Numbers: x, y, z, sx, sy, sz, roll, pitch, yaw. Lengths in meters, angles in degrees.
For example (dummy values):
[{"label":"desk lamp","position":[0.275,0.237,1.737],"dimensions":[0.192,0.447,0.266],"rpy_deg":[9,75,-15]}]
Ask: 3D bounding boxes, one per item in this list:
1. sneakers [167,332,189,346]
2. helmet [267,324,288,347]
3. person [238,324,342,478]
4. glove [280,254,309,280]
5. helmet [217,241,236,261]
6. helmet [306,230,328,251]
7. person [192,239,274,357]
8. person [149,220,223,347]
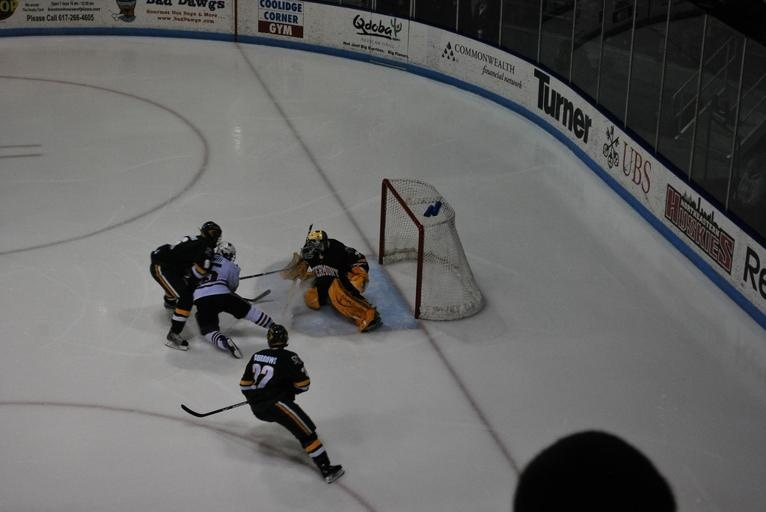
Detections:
[{"label":"sneakers","position":[-2.455,1.009,8.637],"dimensions":[0.265,0.199,0.152],"rpy_deg":[7,12,5]},{"label":"helmet","position":[-1.086,0.830,7.381],"dimensions":[0.184,0.249,0.227],"rpy_deg":[2,-4,-9]},{"label":"person","position":[-0.980,1.625,7.585],"dimensions":[1.020,1.627,0.910],"rpy_deg":[3,30,14]},{"label":"glove","position":[-1.171,0.200,9.496],"dimensions":[0.329,0.165,0.343],"rpy_deg":[30,66,21]},{"label":"helmet","position":[-1.898,-0.048,8.718],"dimensions":[0.175,0.243,0.222],"rpy_deg":[7,-3,2]},{"label":"helmet","position":[-0.839,-0.168,9.058],"dimensions":[0.219,0.277,0.191],"rpy_deg":[-8,8,-25]},{"label":"person","position":[-1.813,0.586,8.797],"dimensions":[0.915,1.557,0.723],"rpy_deg":[-5,-20,-14]},{"label":"person","position":[-2.555,0.197,9.123],"dimensions":[0.879,1.494,1.711],"rpy_deg":[11,12,-19]}]
